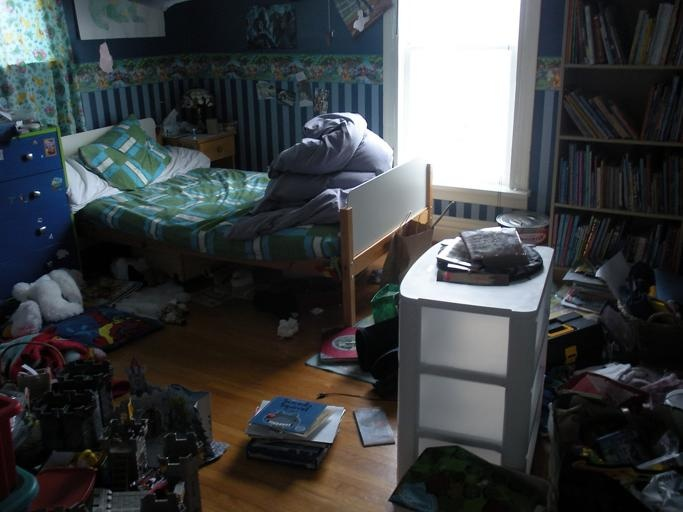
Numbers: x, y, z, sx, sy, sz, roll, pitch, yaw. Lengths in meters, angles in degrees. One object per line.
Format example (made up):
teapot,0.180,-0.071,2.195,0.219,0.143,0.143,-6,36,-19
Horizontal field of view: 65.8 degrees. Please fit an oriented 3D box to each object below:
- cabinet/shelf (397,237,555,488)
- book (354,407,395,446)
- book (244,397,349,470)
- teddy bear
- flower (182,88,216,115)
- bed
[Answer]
cabinet/shelf,0.499,0.466,2.022,0.517,0.929,0.446,5,18,20
book,0.153,0.795,2.515,0.159,0.269,0.029,-14,29,15
book,-0.222,0.799,2.354,0.290,0.081,0.278,8,18,23
teddy bear,-1.930,0.291,3.420,0.455,0.254,0.482,-14,21,-36
flower,-1.351,-1.468,4.992,0.260,0.152,0.256,-11,19,-35
bed,-0.556,-0.391,3.744,2.113,1.040,1.522,11,34,19
